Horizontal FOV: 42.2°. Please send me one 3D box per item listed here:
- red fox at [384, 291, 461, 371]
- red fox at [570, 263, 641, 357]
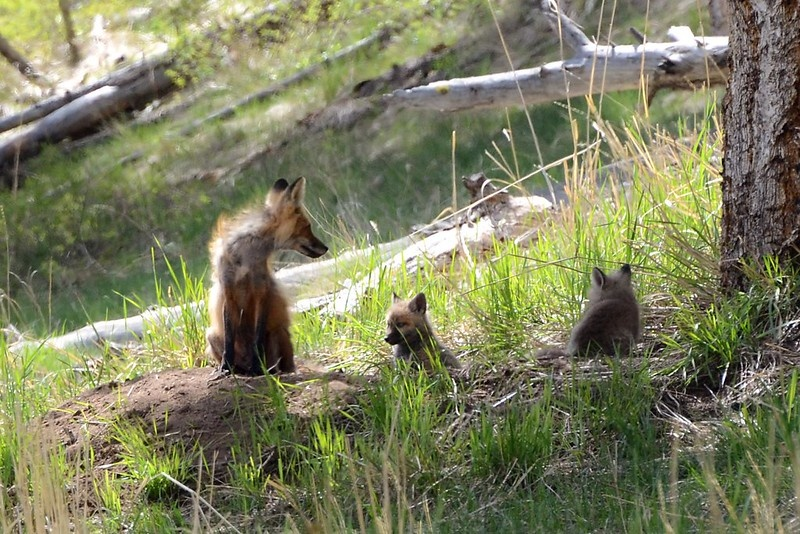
[{"bbox_3d":[0.196,0.663,10.135,0.724,0.753,0.468,-6,23,34],"label":"red fox"},{"bbox_3d":[1.906,0.457,9.806,0.393,0.629,1.199,1,35,22],"label":"red fox"}]
